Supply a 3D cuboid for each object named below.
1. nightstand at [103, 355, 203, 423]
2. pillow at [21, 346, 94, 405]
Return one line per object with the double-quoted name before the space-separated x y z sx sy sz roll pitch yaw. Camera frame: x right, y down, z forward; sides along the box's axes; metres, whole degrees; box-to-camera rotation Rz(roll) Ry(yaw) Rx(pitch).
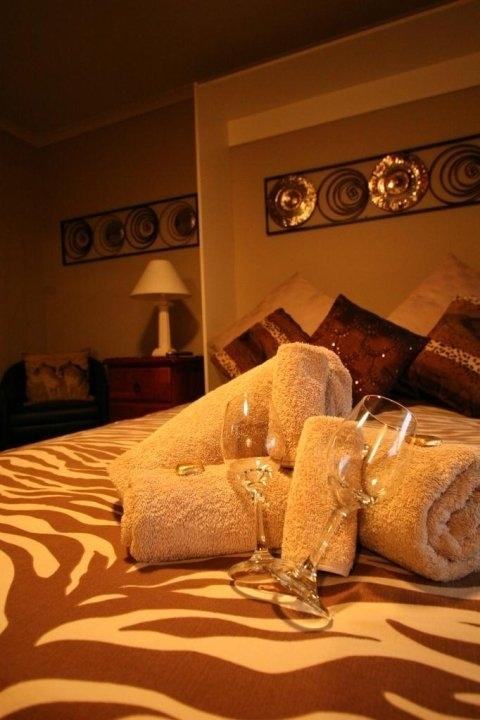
"nightstand" -0.474 0.186 3.145 0.575 0.415 0.565 -2 3 -26
"pillow" -1.165 0.138 3.570 0.339 0.347 0.110 1 -20 -8
